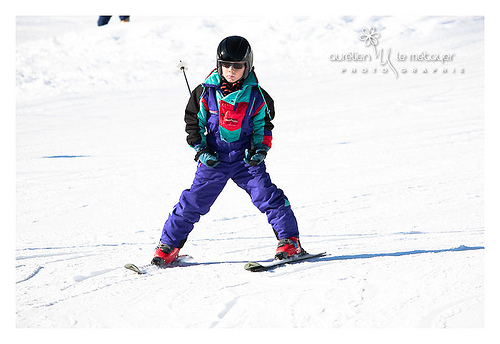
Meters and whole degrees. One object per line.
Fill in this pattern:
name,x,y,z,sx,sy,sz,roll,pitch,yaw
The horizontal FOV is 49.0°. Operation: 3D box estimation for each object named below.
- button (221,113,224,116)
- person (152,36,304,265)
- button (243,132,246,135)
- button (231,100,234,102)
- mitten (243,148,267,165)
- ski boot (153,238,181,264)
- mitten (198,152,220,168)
button,-0.291,-0.614,5.909,0.029,0.027,0.002,0,17,13
person,-0.234,-0.233,6.008,1.514,2.413,0.516,-4,16,3
button,-0.054,-0.415,6.010,0.030,0.031,0.011,-13,18,-30
button,-0.179,-0.757,5.878,0.028,0.017,0.003,-4,16,-1
mitten,0.069,-0.161,6.008,0.257,0.169,0.136,-4,15,-1
ski boot,-0.945,0.908,6.255,0.210,0.252,0.586,10,-2,13
mitten,-0.444,-0.140,5.989,0.177,0.076,0.182,28,24,31
